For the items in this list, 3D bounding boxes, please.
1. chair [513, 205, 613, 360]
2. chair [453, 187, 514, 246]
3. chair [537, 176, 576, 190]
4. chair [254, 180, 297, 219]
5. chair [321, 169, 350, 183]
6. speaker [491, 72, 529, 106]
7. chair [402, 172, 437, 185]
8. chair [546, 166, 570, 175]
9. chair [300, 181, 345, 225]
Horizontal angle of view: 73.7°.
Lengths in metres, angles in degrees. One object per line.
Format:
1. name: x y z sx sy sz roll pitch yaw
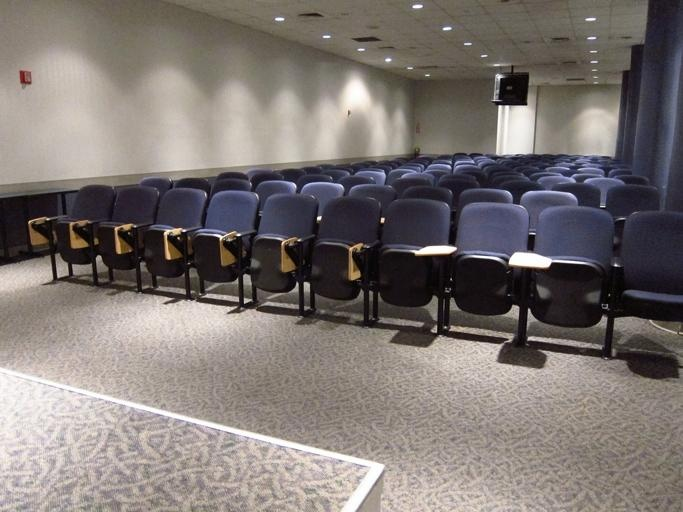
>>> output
1. chair: 1.661 0.193 3.419 0.609 1.085 0.912 7 13 30
2. chair: 1.471 -0.418 4.755 0.652 0.811 0.722 3 6 25
3. chair: 2.844 -1.009 6.136 0.439 0.189 0.492 4 17 29
4. chair: -0.821 -0.710 5.740 0.552 0.621 0.553 3 7 14
5. chair: -0.069 -1.365 7.561 0.446 0.174 0.404 2 -1 22
6. speaker: 5.633 -5.549 15.025 1.017 1.152 1.295 4 11 18
7. chair: 1.132 -1.136 6.514 0.456 0.199 0.460 8 10 39
8. chair: 3.652 -1.414 7.544 0.380 0.163 0.368 -5 9 -28
9. chair: -0.327 -0.629 5.426 0.517 0.639 0.573 3 6 17
